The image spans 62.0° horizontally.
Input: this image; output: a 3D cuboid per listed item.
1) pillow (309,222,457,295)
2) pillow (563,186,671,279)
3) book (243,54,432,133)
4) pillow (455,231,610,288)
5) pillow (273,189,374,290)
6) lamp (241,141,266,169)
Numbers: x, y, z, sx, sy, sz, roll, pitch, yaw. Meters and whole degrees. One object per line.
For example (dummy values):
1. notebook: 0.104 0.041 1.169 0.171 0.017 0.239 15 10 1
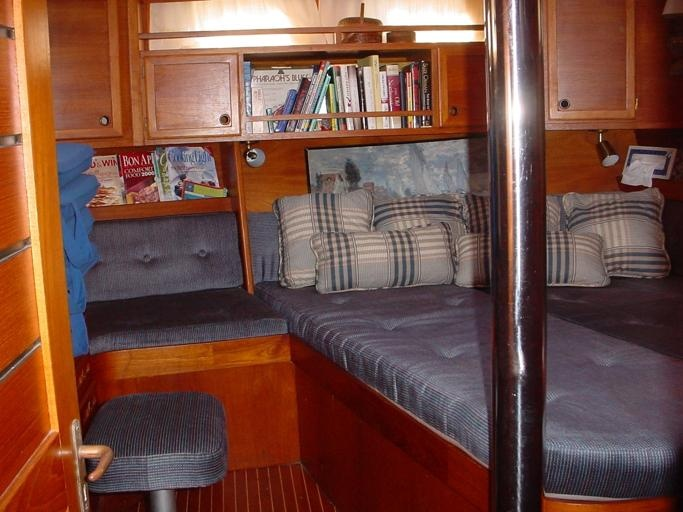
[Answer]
1. pillow: 0.212 0.006 2.776 0.713 0.268 0.203 -4 -5 -13
2. pillow: 1.419 -0.124 2.821 0.594 0.496 0.163 -1 -34 7
3. book: -0.016 -0.828 2.927 0.988 0.371 0.223 -5 13 -9
4. pillow: 0.967 0.025 2.656 0.851 0.195 0.412 2 31 7
5. pillow: -0.114 -0.086 2.849 0.644 0.435 0.172 0 -9 -13
6. lamp: -0.472 -0.546 3.068 0.110 0.138 0.037 -27 15 -24
